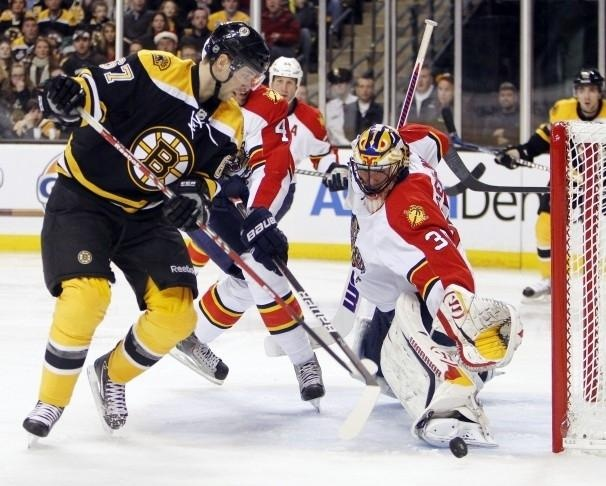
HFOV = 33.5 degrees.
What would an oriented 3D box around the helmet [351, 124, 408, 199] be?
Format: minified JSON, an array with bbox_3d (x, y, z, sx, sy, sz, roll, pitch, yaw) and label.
[{"bbox_3d":[0.326,-0.348,4.050,0.245,0.233,0.276,5,38,23],"label":"helmet"}]

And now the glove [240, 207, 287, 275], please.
[{"bbox_3d":[-0.164,-0.020,4.095,0.262,0.153,0.106,52,38,13],"label":"glove"}]

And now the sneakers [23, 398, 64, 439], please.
[{"bbox_3d":[-0.984,0.672,3.788,0.094,0.152,0.141,5,11,17],"label":"sneakers"}]

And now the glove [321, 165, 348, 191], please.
[{"bbox_3d":[0.177,-0.339,5.330,0.125,0.064,0.161,1,40,1],"label":"glove"}]

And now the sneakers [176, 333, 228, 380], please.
[{"bbox_3d":[-0.473,0.519,4.596,0.274,0.134,0.091,34,57,10],"label":"sneakers"}]

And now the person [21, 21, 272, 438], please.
[{"bbox_3d":[-0.623,-0.069,3.844,0.913,1.534,0.303,-2,11,-16],"label":"person"}]

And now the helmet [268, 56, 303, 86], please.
[{"bbox_3d":[-0.107,-0.960,5.594,0.147,0.156,0.166,0,26,0],"label":"helmet"}]

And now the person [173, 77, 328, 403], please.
[{"bbox_3d":[-0.259,0.011,4.413,0.699,1.524,0.528,14,31,21],"label":"person"}]
